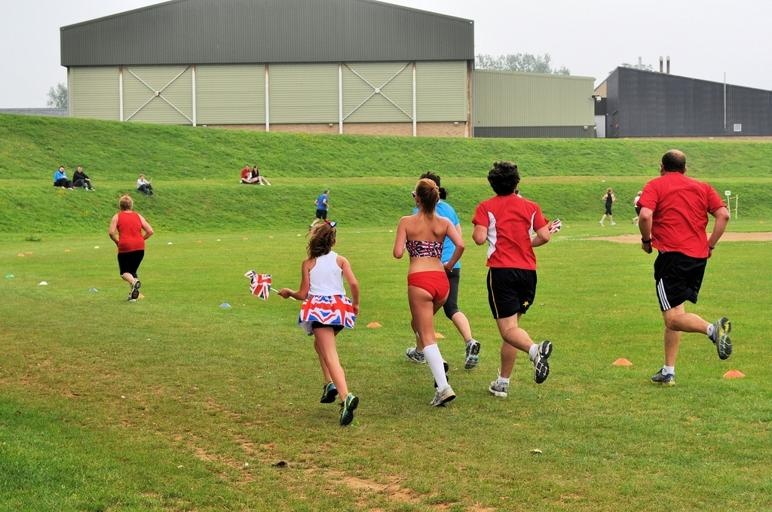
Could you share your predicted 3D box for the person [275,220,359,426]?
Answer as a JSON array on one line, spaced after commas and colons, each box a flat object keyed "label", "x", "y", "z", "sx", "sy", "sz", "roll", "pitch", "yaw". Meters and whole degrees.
[{"label": "person", "x": -0.983, "y": 1.064, "z": 16.541, "sx": 1.037, "sy": 3.198, "sz": 1.193, "roll": -1, "pitch": 7, "yaw": -4}]

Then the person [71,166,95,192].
[{"label": "person", "x": -13.858, "y": -3.522, "z": 46.238, "sx": 0.877, "sy": 1.008, "sz": 1.728, "roll": -2, "pitch": 8, "yaw": -17}]

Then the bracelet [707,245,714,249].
[{"label": "bracelet", "x": 5.500, "y": -0.156, "z": 17.311, "sx": 0.066, "sy": 0.069, "sz": 0.069, "roll": -11, "pitch": -22, "yaw": 30}]

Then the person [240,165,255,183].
[{"label": "person", "x": -7.132, "y": -4.152, "z": 51.830, "sx": 0.623, "sy": 0.848, "sz": 1.444, "roll": -1, "pitch": 8, "yaw": -9}]

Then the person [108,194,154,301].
[{"label": "person", "x": -5.625, "y": -0.201, "z": 22.347, "sx": 0.842, "sy": 2.238, "sz": 1.375, "roll": -2, "pitch": 7, "yaw": -15}]

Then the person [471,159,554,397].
[{"label": "person", "x": 2.103, "y": 0.405, "z": 16.894, "sx": 1.343, "sy": 3.920, "sz": 0.811, "roll": 4, "pitch": 8, "yaw": 34}]

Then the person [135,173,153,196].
[{"label": "person", "x": -11.069, "y": -3.282, "z": 46.614, "sx": 0.704, "sy": 0.938, "sz": 0.929, "roll": -3, "pitch": 8, "yaw": -20}]

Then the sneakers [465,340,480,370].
[{"label": "sneakers", "x": 1.520, "y": 1.728, "z": 18.024, "sx": 0.223, "sy": 0.547, "sz": 0.254, "roll": 5, "pitch": 12, "yaw": -20}]

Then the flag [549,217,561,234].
[{"label": "flag", "x": 2.809, "y": -0.480, "z": 17.222, "sx": 0.129, "sy": 0.158, "sz": 0.380, "roll": 1, "pitch": -6, "yaw": -7}]

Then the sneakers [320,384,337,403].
[{"label": "sneakers", "x": -0.950, "y": 2.262, "z": 16.549, "sx": 0.206, "sy": 0.198, "sz": 0.424, "roll": -3, "pitch": -32, "yaw": -24}]
